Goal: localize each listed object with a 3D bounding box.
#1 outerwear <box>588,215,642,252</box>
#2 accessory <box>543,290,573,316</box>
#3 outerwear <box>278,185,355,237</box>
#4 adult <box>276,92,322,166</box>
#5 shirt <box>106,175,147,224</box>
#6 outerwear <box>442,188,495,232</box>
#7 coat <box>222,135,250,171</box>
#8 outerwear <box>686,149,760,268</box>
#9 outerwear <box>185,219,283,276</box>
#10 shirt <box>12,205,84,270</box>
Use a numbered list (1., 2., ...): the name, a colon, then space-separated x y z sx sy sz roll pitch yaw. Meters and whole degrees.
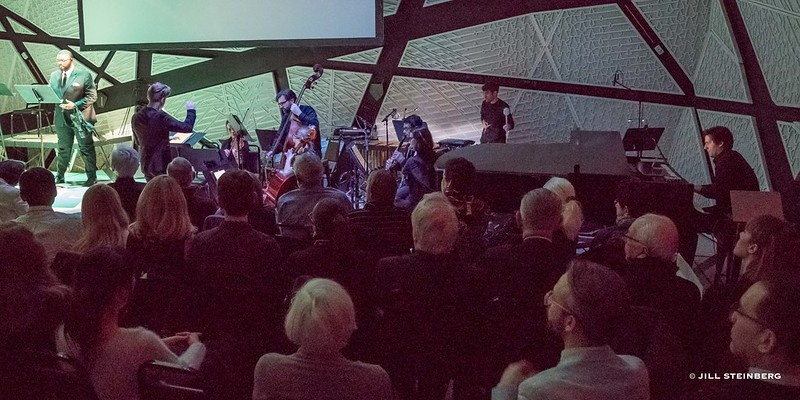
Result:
1. outerwear: 2.121 0.320 5.877 0.442 0.166 0.317 -20 9 -40
2. accessory: 1.250 0.811 4.635 0.187 0.053 0.175 22 3 15
3. outerwear: -0.949 0.105 6.744 0.986 0.767 0.550 0 -6 -8
4. adult: -1.511 -1.092 8.898 0.686 1.105 0.464 -5 -4 36
5. shirt: -3.030 -0.013 6.576 0.286 0.484 0.472 1 1 -25
6. outerwear: 0.692 0.108 6.238 0.484 0.477 0.286 2 1 5
7. coat: -2.498 -0.720 8.992 0.380 0.308 0.767 -20 30 -1
8. outerwear: 4.059 0.012 7.326 0.630 1.355 1.022 2 1 30
9. outerwear: -1.542 0.449 5.521 0.862 0.528 0.207 2 0 10
10. shirt: -3.458 0.303 5.857 0.542 0.528 0.405 2 1 26
